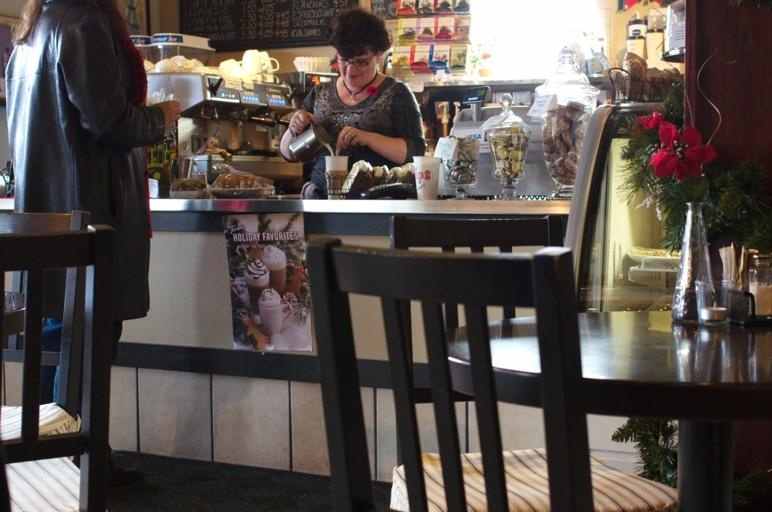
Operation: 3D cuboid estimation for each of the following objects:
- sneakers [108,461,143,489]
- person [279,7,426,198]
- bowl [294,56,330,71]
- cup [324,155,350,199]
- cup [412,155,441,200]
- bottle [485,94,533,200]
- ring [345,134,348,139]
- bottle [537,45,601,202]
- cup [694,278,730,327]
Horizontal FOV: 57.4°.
[{"bbox_3d":[-1.042,0.895,2.884,0.173,0.120,0.062,1,4,-29],"label":"sneakers"},{"bbox_3d":[-0.169,-0.732,3.416,0.651,0.917,0.623,-1,4,-28],"label":"person"},{"bbox_3d":[-0.552,-1.453,5.360,0.161,0.072,0.164,0,4,0],"label":"bowl"},{"bbox_3d":[-0.198,-0.319,2.861,0.090,0.173,0.117,0,3,-3],"label":"cup"},{"bbox_3d":[0.160,-0.300,2.745,0.096,0.168,0.213,1,4,3],"label":"cup"},{"bbox_3d":[0.473,-0.430,2.762,0.183,0.413,0.325,1,4,7],"label":"bottle"},{"bbox_3d":[-0.176,-0.541,3.185,0.015,0.015,0.016,-4,7,-6],"label":"ring"},{"bbox_3d":[0.660,-0.507,2.613,0.199,0.577,0.227,-1,4,-29],"label":"bottle"},{"bbox_3d":[0.762,0.120,1.712,0.089,0.106,0.094,-1,-3,0],"label":"cup"}]
